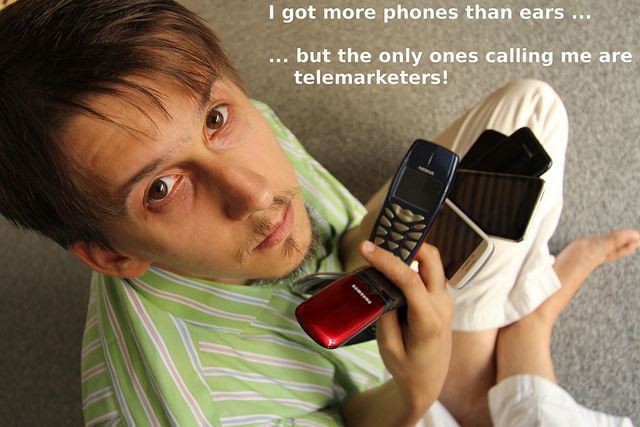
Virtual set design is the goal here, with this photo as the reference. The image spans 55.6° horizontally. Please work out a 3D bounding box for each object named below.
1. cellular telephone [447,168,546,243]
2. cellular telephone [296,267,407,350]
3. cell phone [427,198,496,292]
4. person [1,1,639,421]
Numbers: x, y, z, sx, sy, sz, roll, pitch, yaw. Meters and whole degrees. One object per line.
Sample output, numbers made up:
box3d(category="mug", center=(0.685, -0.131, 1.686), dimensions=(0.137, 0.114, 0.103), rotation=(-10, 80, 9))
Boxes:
box3d(category="cellular telephone", center=(0.528, -0.032, 1.848), dimensions=(0.190, 0.020, 0.147), rotation=(16, 82, 6))
box3d(category="cellular telephone", center=(0.083, 0.247, 1.654), dimensions=(0.283, 0.105, 0.148), rotation=(-34, 73, -1))
box3d(category="cell phone", center=(0.422, 0.081, 1.831), dimensions=(0.153, 0.027, 0.263), rotation=(-49, 60, 23))
box3d(category="person", center=(-0.079, 0.053, 1.814), dimensions=(1.787, 0.925, 1.190), rotation=(-5, 75, 7))
